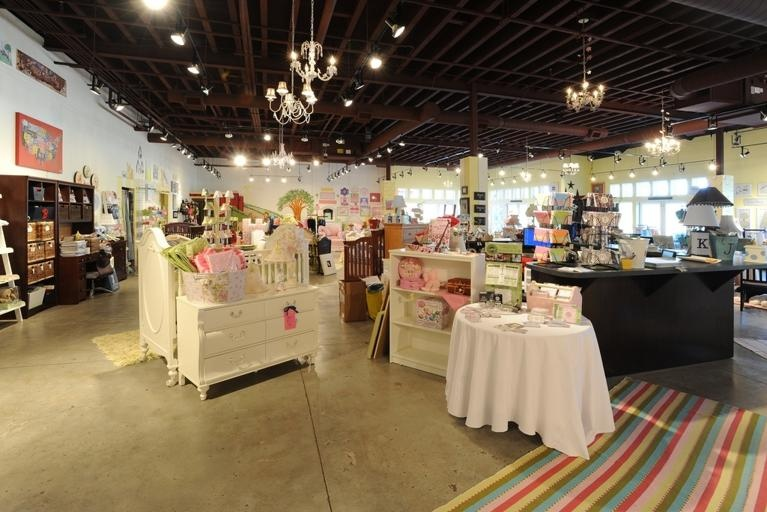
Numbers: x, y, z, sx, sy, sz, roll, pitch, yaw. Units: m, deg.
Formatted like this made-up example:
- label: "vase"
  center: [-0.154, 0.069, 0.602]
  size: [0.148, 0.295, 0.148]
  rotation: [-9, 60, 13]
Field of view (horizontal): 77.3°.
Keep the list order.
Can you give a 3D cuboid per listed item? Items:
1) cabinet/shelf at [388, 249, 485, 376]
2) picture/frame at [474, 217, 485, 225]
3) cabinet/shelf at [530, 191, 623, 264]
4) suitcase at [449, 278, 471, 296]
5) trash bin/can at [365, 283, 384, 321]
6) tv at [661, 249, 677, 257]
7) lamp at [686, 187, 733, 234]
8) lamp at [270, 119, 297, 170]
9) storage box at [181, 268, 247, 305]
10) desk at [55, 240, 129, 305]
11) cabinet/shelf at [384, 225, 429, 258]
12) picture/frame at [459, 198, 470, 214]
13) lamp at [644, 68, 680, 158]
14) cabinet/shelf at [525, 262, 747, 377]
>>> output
- label: "cabinet/shelf"
  center: [0.710, 0.714, 6.246]
  size: [0.506, 1.974, 1.600]
  rotation: [1, 0, -40]
- label: "picture/frame"
  center: [2.285, -0.802, 11.265]
  size: [0.123, 0.226, 0.447]
  rotation: [3, 8, 39]
- label: "cabinet/shelf"
  center: [2.434, -0.317, 6.260]
  size: [0.928, 0.934, 0.953]
  rotation: [1, -1, 1]
- label: "suitcase"
  center: [1.024, 0.401, 6.288]
  size: [0.350, 0.181, 0.310]
  rotation: [2, 7, 29]
- label: "trash bin/can"
  center: [-0.159, 0.799, 8.391]
  size: [0.200, 0.483, 0.472]
  rotation: [4, -3, -16]
- label: "tv"
  center: [4.361, -0.036, 7.324]
  size: [0.181, 0.048, 0.618]
  rotation: [2, 8, 31]
- label: "lamp"
  center: [4.921, -0.670, 7.351]
  size: [0.698, 0.775, 0.764]
  rotation: [1, -1, 6]
- label: "lamp"
  center: [-2.802, -3.150, 13.360]
  size: [0.540, 1.240, 0.538]
  rotation: [8, 11, 31]
- label: "storage box"
  center: [-2.085, 0.402, 6.187]
  size: [0.745, 0.325, 0.784]
  rotation: [-5, -1, -34]
- label: "desk"
  center: [-6.053, 0.206, 9.985]
  size: [0.438, 0.795, 1.659]
  rotation: [3, 10, 3]
- label: "cabinet/shelf"
  center: [0.411, -0.218, 8.924]
  size: [0.429, 0.813, 0.835]
  rotation: [5, 13, 28]
- label: "picture/frame"
  center: [1.906, -1.143, 11.178]
  size: [0.106, 0.346, 0.310]
  rotation: [-3, 6, -15]
- label: "lamp"
  center: [6.972, -3.052, 11.877]
  size: [0.501, 1.152, 0.547]
  rotation: [-8, 5, 27]
- label: "cabinet/shelf"
  center: [3.627, 0.864, 6.856]
  size: [2.633, 1.348, 1.432]
  rotation: [-3, -3, -8]
